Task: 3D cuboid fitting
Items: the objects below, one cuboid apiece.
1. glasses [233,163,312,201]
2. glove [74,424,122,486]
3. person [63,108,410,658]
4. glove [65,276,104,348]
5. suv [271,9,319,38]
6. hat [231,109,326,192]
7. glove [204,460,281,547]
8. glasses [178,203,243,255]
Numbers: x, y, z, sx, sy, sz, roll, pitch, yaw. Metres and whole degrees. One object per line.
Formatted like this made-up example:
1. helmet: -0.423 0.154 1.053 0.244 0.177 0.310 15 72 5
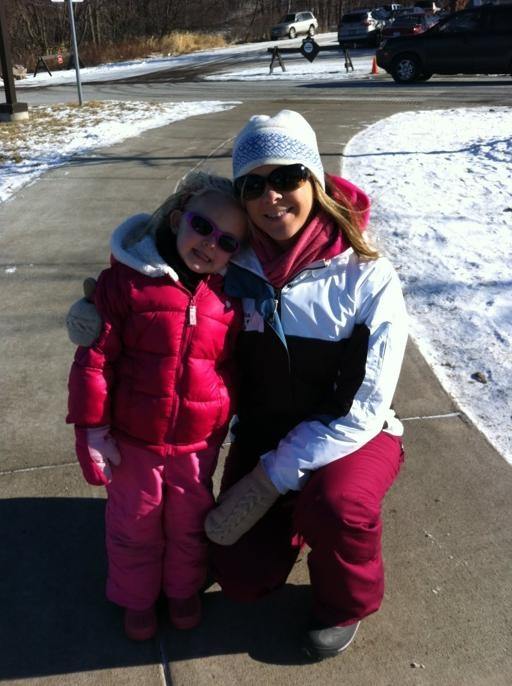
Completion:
1. glasses: 0.055 -0.452 1.605 0.198 0.100 0.102 0 26 2
2. glove: -0.429 0.302 1.643 0.080 0.164 0.131 -12 14 -31
3. person: 0.034 0.124 1.755 0.928 1.439 0.790 -6 11 -40
4. glove: -0.476 -0.094 1.608 0.074 0.150 0.225 22 -26 -16
5. suv: 2.529 -19.899 35.726 1.585 1.559 3.365 22 34 39
6. hat: 0.061 -0.549 1.702 0.233 0.180 0.238 -5 3 32
7. glove: -0.014 0.466 1.703 0.153 0.291 0.085 51 6 16
8. glasses: -0.126 -0.320 1.645 0.157 0.115 0.096 -2 26 -2
